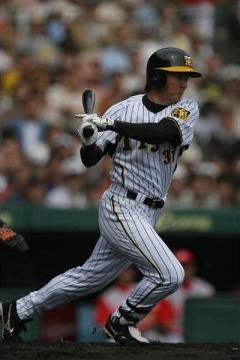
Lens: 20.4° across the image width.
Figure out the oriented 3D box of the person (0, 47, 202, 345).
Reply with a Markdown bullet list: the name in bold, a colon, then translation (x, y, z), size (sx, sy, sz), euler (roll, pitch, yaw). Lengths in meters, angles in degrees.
- **person**: translation (0.005, 0.118, 3.778), size (1.089, 1.614, 0.829), euler (-22, 31, -39)

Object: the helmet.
- **helmet**: translation (0.278, -0.647, 3.831), size (0.301, 0.188, 0.217), euler (1, 1, 33)

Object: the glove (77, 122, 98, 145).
- **glove**: translation (-0.172, -0.253, 3.608), size (0.094, 0.111, 0.053), euler (-10, 21, -21)

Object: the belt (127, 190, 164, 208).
- **belt**: translation (0.140, 0.115, 3.795), size (0.158, 0.032, 0.113), euler (21, -3, -11)

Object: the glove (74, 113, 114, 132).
- **glove**: translation (-0.113, -0.304, 3.627), size (0.126, 0.034, 0.121), euler (18, -8, 25)
